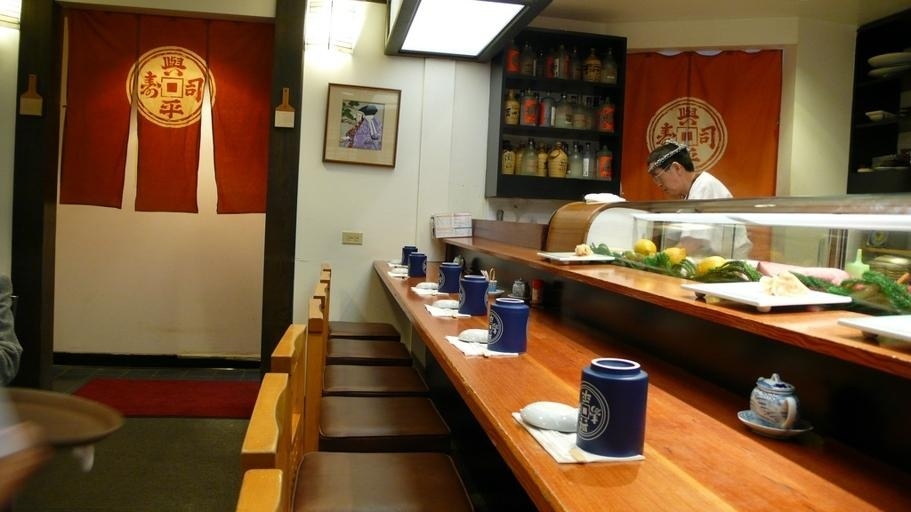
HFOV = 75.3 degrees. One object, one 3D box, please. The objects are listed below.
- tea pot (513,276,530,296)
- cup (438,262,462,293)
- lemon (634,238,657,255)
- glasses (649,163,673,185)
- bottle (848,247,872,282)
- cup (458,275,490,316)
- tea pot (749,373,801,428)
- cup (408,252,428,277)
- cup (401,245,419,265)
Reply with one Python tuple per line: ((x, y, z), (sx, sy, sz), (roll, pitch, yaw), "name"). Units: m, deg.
((0.426, 0.207, 3.789), (0.111, 0.091, 0.092), (0, 3, 6), "tea pot")
((-0.035, 0.141, 3.995), (0.198, 0.191, 0.188), (2, 2, 0), "cup")
((1.035, -0.044, 3.212), (0.095, 0.076, 0.104), (-32, 35, -20), "lemon")
((1.616, -0.648, 4.651), (0.047, 0.139, 0.142), (-36, -21, 27), "glasses")
((1.688, 0.034, 2.460), (0.056, 0.129, 0.110), (-1, 8, 3), "bottle")
((0.110, 0.224, 3.451), (0.221, 0.214, 0.204), (3, 2, 0), "cup")
((1.263, 0.585, 2.430), (0.173, 0.179, 0.220), (6, 4, 8), "tea pot")
((-0.290, 0.074, 4.731), (0.181, 0.184, 0.189), (2, 2, 0), "cup")
((-0.426, -0.014, 5.414), (0.189, 0.179, 0.176), (2, 1, 0), "cup")
